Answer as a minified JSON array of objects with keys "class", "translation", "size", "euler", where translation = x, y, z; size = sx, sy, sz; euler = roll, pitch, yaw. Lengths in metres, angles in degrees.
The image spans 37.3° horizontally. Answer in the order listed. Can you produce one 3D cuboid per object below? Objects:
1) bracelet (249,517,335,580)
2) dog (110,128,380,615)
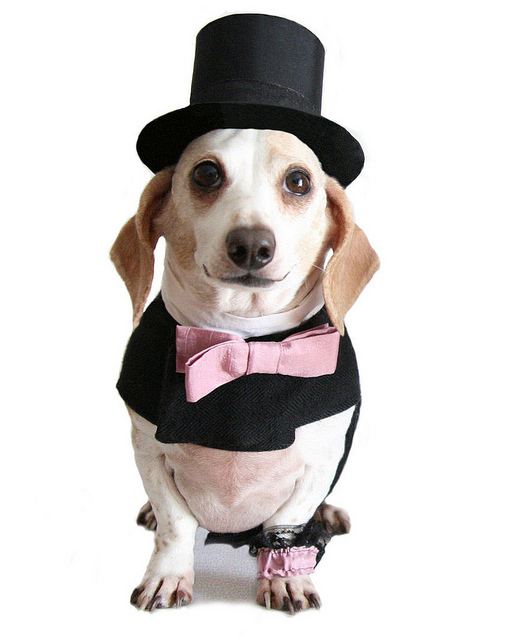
[{"class":"bracelet","translation":[0.130,0.848,2.910],"size":[0.217,0.103,0.238],"euler":[4,14,9]},{"class":"dog","translation":[-0.009,0.202,2.839],"size":[0.868,1.693,0.830],"euler":[5,-3,-42]}]
